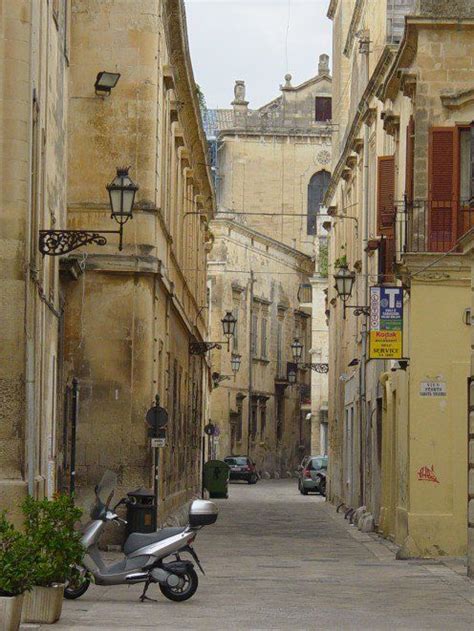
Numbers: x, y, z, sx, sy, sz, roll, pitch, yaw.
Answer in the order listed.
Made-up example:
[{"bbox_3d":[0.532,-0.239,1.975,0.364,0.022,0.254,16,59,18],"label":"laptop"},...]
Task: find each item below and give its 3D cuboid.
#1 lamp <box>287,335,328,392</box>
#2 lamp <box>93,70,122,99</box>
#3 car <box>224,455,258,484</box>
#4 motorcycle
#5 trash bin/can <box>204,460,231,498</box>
[{"bbox_3d":[3.592,2.406,64.556,0.921,3.652,2.509,-3,5,-43],"label":"lamp"},{"bbox_3d":[-2.198,-4.053,21.606,0.451,0.437,0.644,2,-8,-7],"label":"lamp"},{"bbox_3d":[0.251,7.163,59.616,1.055,1.150,2.918,0,-11,4],"label":"car"},{"bbox_3d":[-0.973,2.397,13.574,1.465,1.407,0.899,-1,-7,4],"label":"motorcycle"},{"bbox_3d":[-0.608,4.993,38.896,0.761,0.989,1.809,-4,-42,-3],"label":"trash bin/can"}]
